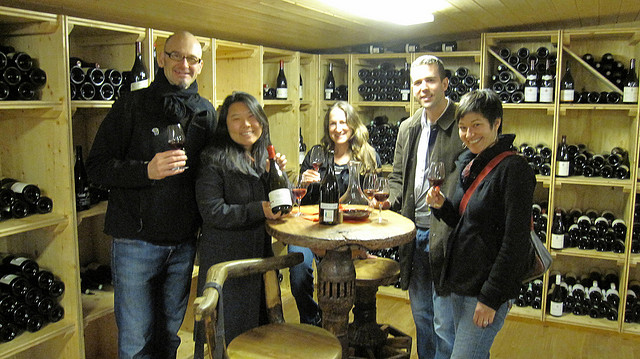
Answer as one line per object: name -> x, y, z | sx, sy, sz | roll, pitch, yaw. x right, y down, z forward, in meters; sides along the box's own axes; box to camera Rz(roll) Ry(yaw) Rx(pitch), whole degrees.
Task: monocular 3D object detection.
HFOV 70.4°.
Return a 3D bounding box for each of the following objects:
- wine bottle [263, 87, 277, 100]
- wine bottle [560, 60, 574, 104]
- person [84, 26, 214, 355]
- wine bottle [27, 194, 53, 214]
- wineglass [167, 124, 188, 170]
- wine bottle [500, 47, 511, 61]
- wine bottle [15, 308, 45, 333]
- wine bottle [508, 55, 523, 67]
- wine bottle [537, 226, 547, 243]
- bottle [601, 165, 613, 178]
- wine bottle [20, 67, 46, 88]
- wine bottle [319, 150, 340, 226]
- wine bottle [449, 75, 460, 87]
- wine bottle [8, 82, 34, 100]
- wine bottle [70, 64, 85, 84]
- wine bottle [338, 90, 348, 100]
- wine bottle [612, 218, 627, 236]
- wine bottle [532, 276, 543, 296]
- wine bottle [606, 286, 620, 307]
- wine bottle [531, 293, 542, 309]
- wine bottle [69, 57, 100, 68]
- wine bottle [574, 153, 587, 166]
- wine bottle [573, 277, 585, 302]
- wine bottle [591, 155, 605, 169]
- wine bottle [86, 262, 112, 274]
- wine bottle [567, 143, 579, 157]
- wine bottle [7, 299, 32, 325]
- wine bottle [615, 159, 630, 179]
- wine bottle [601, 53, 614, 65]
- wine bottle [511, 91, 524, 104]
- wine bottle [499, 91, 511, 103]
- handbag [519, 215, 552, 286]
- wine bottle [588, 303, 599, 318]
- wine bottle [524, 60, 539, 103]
wine bottle -> -0.612, -1.068, 5.606 | 0.123, 0.139, 0.329 | 2, 11, 16
wine bottle -> 2.789, -1.098, 5.100 | 0.138, 0.475, 0.182 | 5, 12, 33
person -> -1.354, 0.185, 3.741 | 0.983, 2.761, 0.523 | -6, 11, -26
wine bottle -> -2.347, 0.214, 3.820 | 0.164, 0.153, 0.178 | 30, -12, -31
wineglass -> -1.140, -0.270, 3.590 | 0.128, 0.339, 0.375 | -4, 11, -18
wine bottle -> 2.136, -1.462, 5.290 | 0.129, 0.121, 0.117 | 17, 39, 2
wine bottle -> -2.413, 1.211, 3.804 | 0.190, 0.176, 0.298 | 13, 1, -41
wine bottle -> 2.251, -1.377, 5.222 | 0.137, 0.128, 0.128 | 15, 8, 19
wine bottle -> 2.580, 0.639, 5.276 | 0.095, 0.180, 0.053 | 1, 10, 11
bottle -> 3.206, -0.085, 5.062 | 0.127, 0.127, 0.136 | -24, 3, 30
wine bottle -> -2.359, -0.841, 3.757 | 0.166, 0.150, 0.143 | 6, 3, 29
wine bottle -> 0.067, 0.066, 3.541 | 0.171, 0.536, 0.168 | 0, 2, 0
wine bottle -> 1.614, -1.190, 5.510 | 0.131, 0.124, 0.118 | 10, -10, 1
wine bottle -> -2.451, -0.726, 3.696 | 0.183, 0.137, 0.081 | -8, 12, -33
wine bottle -> -2.074, -0.900, 3.858 | 0.139, 0.148, 0.057 | -1, 16, -20
wine bottle -> 0.294, -1.138, 6.051 | 0.118, 0.125, 0.046 | -1, 10, 1
wine bottle -> 3.391, 0.553, 5.147 | 0.131, 0.175, 0.106 | 1, 10, 9
wine bottle -> 2.583, 1.277, 5.384 | 0.108, 0.220, 0.115 | -1, 10, 0
wine bottle -> 3.340, 1.353, 5.158 | 0.131, 0.175, 0.135 | -7, 14, 2
wine bottle -> 2.555, 1.457, 5.353 | 0.104, 0.160, 0.066 | 1, 10, 14
wine bottle -> -2.095, -1.022, 3.986 | 0.166, 0.078, 0.228 | 3, 2, 23
wine bottle -> 3.010, -0.226, 5.222 | 0.143, 0.132, 0.056 | -2, 10, -7
wine bottle -> 3.023, 1.335, 5.294 | 0.120, 0.155, 0.155 | 4, 11, 27
wine bottle -> 3.178, -0.192, 5.157 | 0.145, 0.151, 0.132 | -10, 13, -41
wine bottle -> -2.137, 0.863, 4.355 | 0.333, 0.073, 0.076 | 5, 22, -13
wine bottle -> 2.939, -0.342, 5.263 | 0.135, 0.127, 0.127 | 15, 40, 19
wine bottle -> -2.490, 1.128, 3.765 | 0.183, 0.186, 0.176 | -5, -28, -38
wine bottle -> 3.411, -0.115, 5.083 | 0.170, 0.203, 0.096 | -8, 12, -35
wine bottle -> 3.228, -1.366, 5.100 | 0.110, 0.080, 0.122 | 1, 44, 11
wine bottle -> 2.273, -0.949, 5.196 | 0.142, 0.135, 0.062 | -3, 10, -8
wine bottle -> 2.126, -0.954, 5.208 | 0.129, 0.129, 0.065 | 1, 10, 12
handbag -> 1.606, 0.563, 3.377 | 0.301, 0.449, 0.099 | -7, 11, -30
wine bottle -> 3.135, 1.522, 5.179 | 0.099, 0.143, 0.082 | 2, 10, 16
wine bottle -> 2.409, -1.070, 5.154 | 0.160, 0.377, 0.139 | 1, 10, 14
